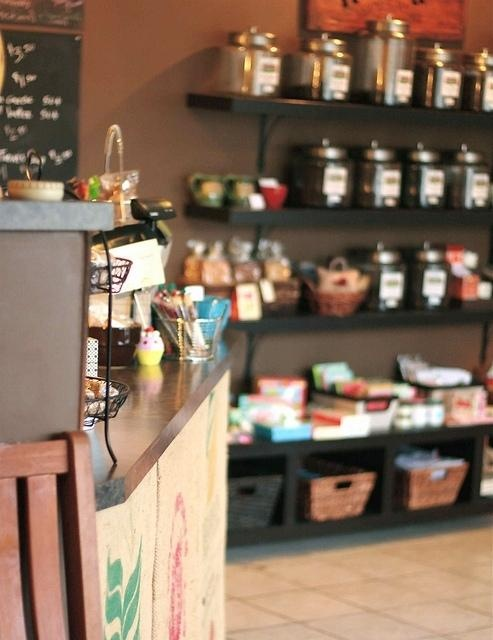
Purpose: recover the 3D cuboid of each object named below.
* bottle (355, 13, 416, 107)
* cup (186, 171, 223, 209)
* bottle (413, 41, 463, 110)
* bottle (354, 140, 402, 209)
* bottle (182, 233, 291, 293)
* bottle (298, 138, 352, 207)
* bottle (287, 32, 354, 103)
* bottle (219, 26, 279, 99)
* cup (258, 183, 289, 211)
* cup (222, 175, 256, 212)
[{"bbox_3d":[0.691,-1.292,3.131,0.299,0.416,0.099,2,3,5],"label":"bottle"},{"bbox_3d":[-0.197,-0.638,3.066,0.212,0.130,0.151,-1,7,-20],"label":"cup"},{"bbox_3d":[1.031,-1.293,3.370,0.346,0.321,0.329,4,11,22],"label":"bottle"},{"bbox_3d":[0.701,-0.710,3.298,0.277,0.309,0.267,3,8,24],"label":"bottle"},{"bbox_3d":[-0.073,-0.290,3.177,0.410,0.148,0.381,0,3,0],"label":"bottle"},{"bbox_3d":[0.412,-0.716,3.240,0.335,0.309,0.305,2,2,0],"label":"bottle"},{"bbox_3d":[0.345,-1.236,3.047,0.328,0.343,0.106,2,3,1],"label":"bottle"},{"bbox_3d":[0.022,-1.220,3.071,0.381,0.304,0.321,5,8,9],"label":"bottle"},{"bbox_3d":[0.137,-0.618,3.172,0.175,0.133,0.159,-3,16,1],"label":"cup"},{"bbox_3d":[-0.037,-0.625,3.053,0.147,0.157,0.060,1,3,-5],"label":"cup"}]
